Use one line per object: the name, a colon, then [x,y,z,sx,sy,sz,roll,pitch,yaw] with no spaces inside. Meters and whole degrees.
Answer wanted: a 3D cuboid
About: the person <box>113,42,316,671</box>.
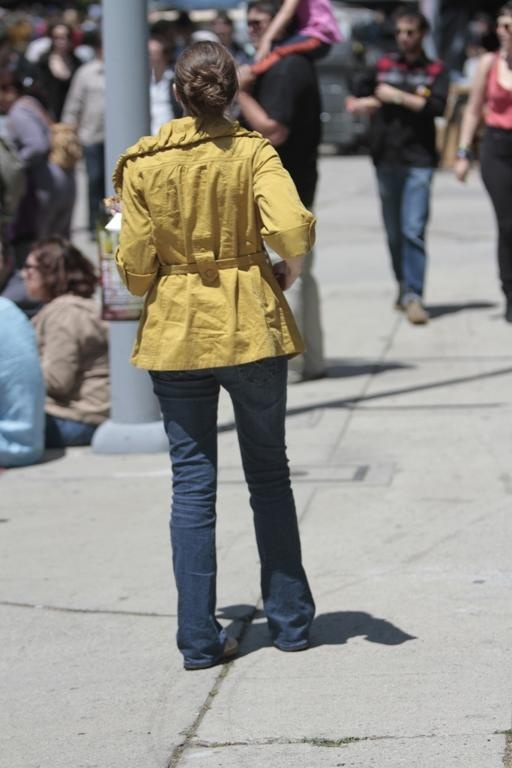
person: [-0.094,-0.051,2.792,0.516,1.646,0.333,-5,13,-1]
